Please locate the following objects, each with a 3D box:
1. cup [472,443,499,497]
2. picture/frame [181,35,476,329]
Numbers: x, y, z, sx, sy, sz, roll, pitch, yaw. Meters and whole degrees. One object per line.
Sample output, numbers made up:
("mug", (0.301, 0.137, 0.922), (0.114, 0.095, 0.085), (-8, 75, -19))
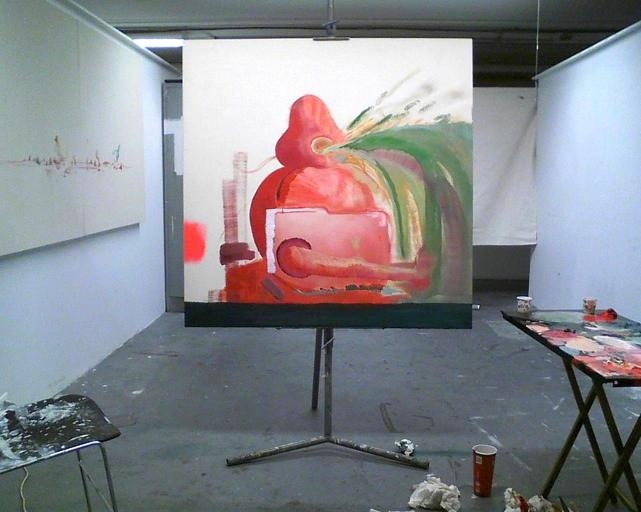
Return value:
("cup", (0.829, 1.085, 2.702), (0.104, 0.226, 0.148), (4, 12, 18))
("picture/frame", (0.075, -0.443, 2.900), (1.547, 1.577, 0.026), (0, 1, -1))
